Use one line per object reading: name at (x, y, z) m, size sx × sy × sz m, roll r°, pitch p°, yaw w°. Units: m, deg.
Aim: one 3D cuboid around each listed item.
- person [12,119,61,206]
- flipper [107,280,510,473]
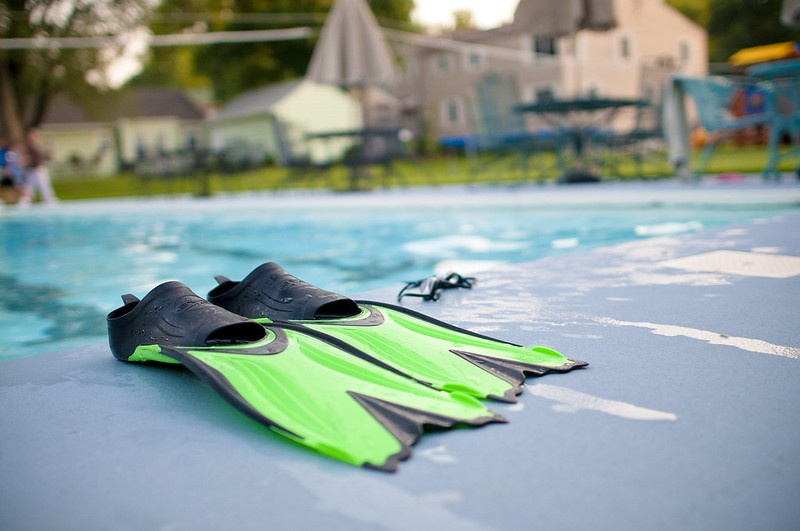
person at (-6.781, -1.819, 12.279) m, size 0.563 × 1.289 × 2.321 m, roll -14°, pitch 14°, yaw -27°
flipper at (-0.426, 0.301, 2.059) m, size 1.167 × 0.189 × 0.476 m, roll 7°, pitch 11°, yaw 27°
